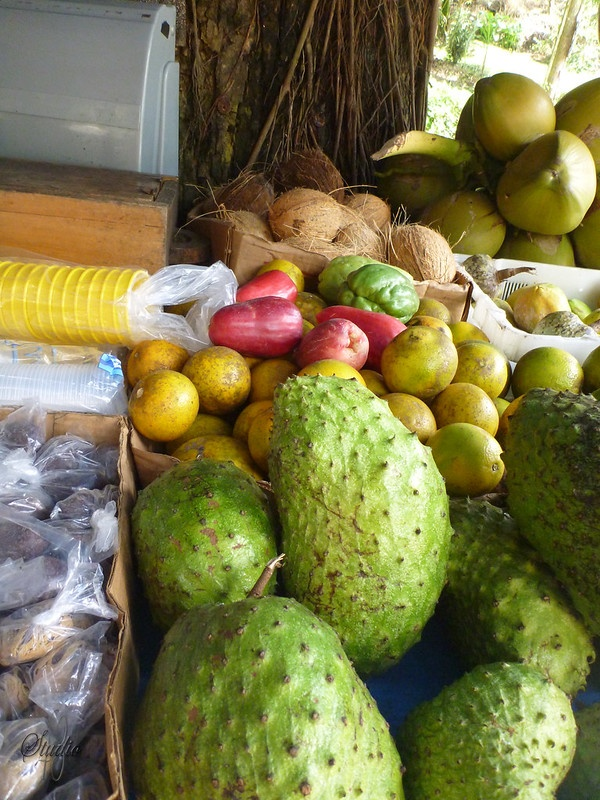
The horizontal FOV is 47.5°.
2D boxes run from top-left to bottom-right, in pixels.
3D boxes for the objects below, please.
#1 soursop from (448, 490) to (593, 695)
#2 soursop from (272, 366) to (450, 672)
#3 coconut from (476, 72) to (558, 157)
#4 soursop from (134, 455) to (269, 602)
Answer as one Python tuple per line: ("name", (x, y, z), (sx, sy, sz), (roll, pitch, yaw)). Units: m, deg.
("soursop", (0.372, 0.360, 1.347), (0.202, 0.182, 0.370), (-14, 61, -29))
("soursop", (0.096, 0.195, 1.240), (0.306, 0.470, 0.294), (-12, 6, 15))
("coconut", (1.045, -1.490, 3.663), (0.473, 0.423, 0.529), (-8, 27, 9))
("soursop", (-0.167, 0.259, 1.268), (0.209, 0.200, 0.258), (10, 42, -34))
